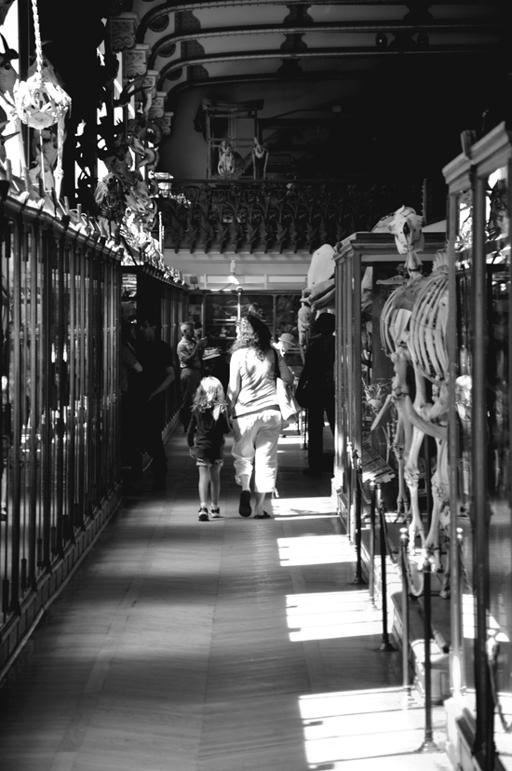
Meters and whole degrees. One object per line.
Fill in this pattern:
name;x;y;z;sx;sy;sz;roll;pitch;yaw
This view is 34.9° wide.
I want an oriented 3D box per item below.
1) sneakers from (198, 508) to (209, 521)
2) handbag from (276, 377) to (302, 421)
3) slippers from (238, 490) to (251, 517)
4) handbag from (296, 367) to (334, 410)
sneakers;-0.487;1.180;7.460;0.099;0.140;0.238;0;0;-3
handbag;0.321;0.140;8.056;0.148;0.222;0.484;-2;45;-27
slippers;-0.099;1.118;7.549;0.088;0.277;0.094;1;1;-8
handbag;0.728;0.075;10.150;0.372;0.534;0.110;4;12;0
